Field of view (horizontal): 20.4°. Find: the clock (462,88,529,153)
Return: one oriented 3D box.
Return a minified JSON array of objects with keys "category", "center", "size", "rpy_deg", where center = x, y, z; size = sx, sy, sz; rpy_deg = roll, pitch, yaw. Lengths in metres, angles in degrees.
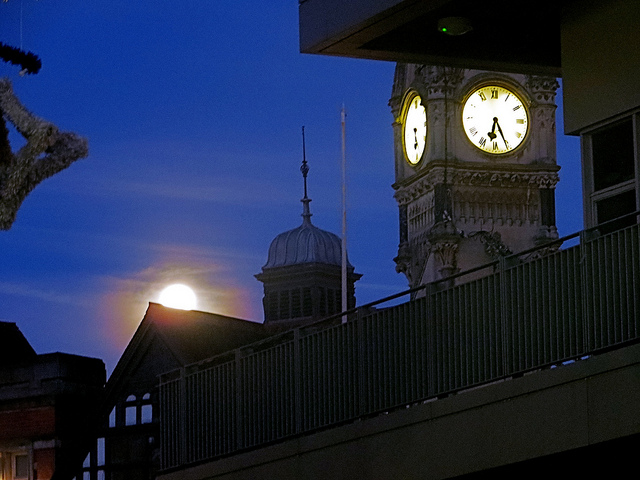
[{"category":"clock","center":[4.520,-3.220,45.698],"size":[1.541,1.625,0.139],"rpy_deg":[3,15,-5]}]

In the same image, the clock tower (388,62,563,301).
[{"category":"clock tower","center":[4.259,-2.268,47.912],"size":[5.219,6.975,5.253],"rpy_deg":[2,-4,-43]}]
